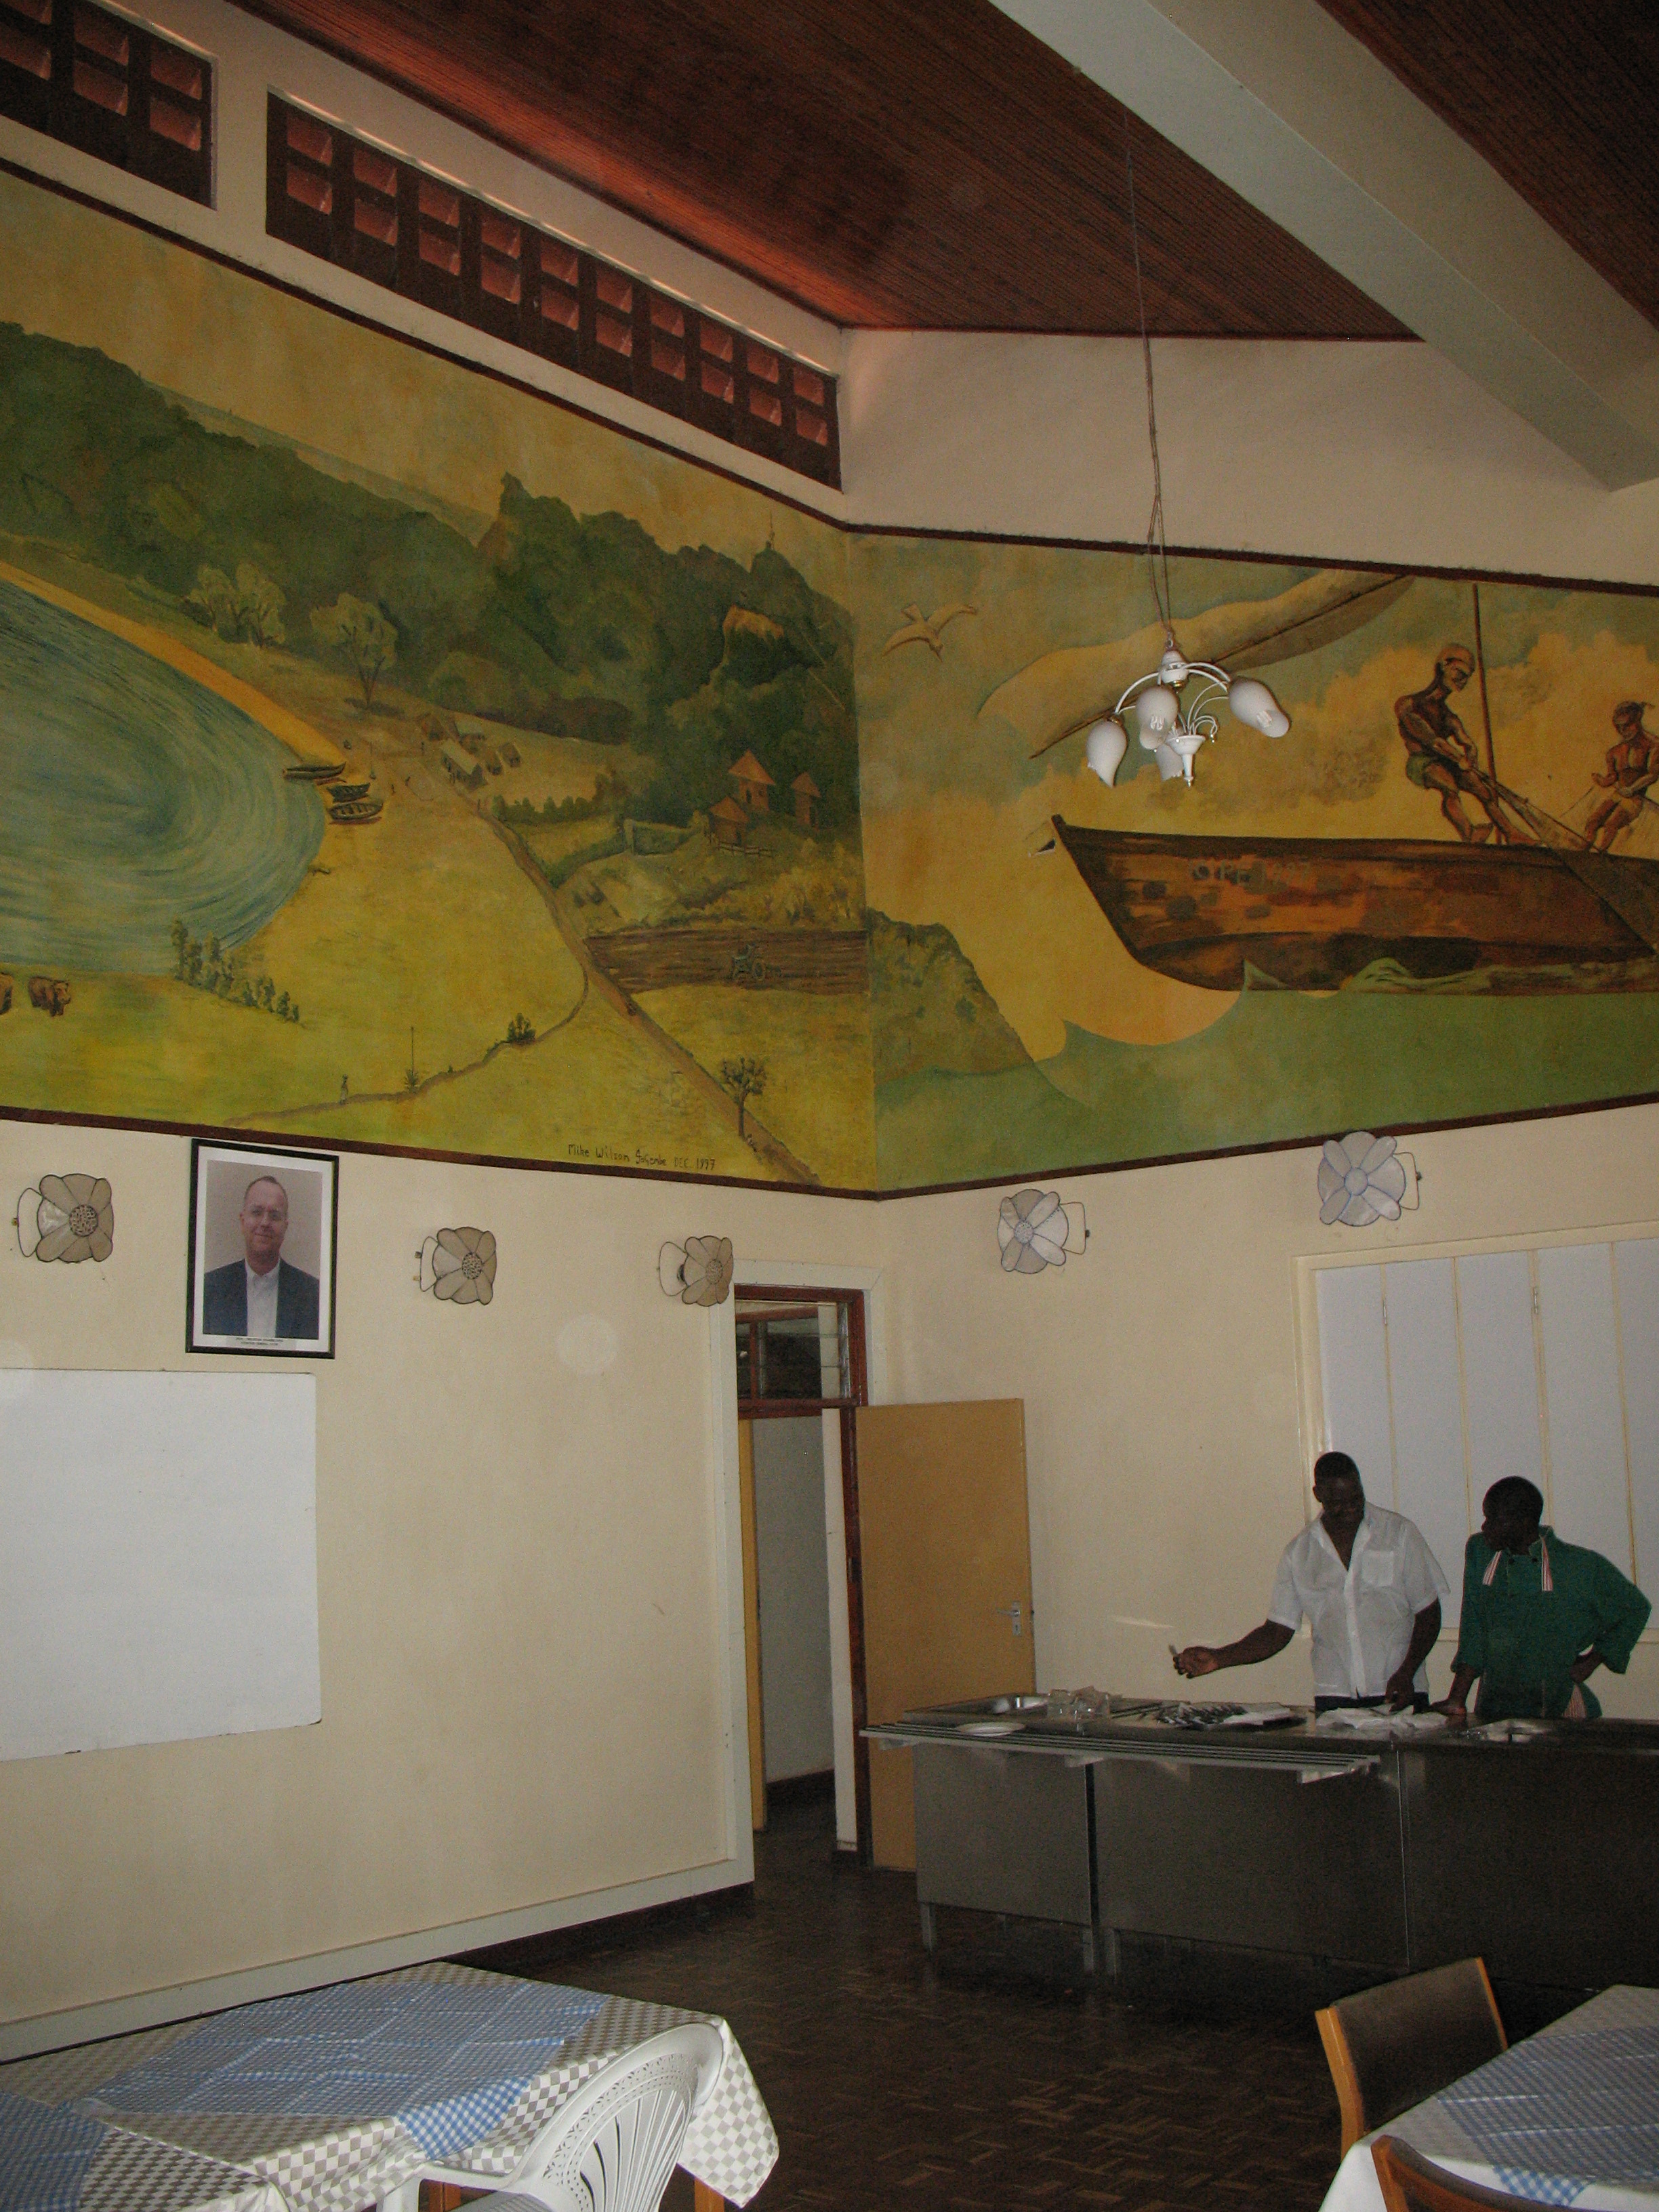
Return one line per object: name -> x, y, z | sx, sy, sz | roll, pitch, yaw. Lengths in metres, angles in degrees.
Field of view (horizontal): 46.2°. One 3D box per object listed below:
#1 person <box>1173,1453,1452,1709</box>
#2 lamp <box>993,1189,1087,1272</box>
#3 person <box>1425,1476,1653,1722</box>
person -> 2.047, 1.976, 8.054 | 0.848, 1.328, 0.511 | -16, -39, 30
lamp -> 1.015, 0.605, 9.388 | 0.392, 0.408, 0.118 | -45, -27, 27
person -> 2.764, 1.906, 7.467 | 0.605, 1.152, 0.582 | 20, -25, -22
